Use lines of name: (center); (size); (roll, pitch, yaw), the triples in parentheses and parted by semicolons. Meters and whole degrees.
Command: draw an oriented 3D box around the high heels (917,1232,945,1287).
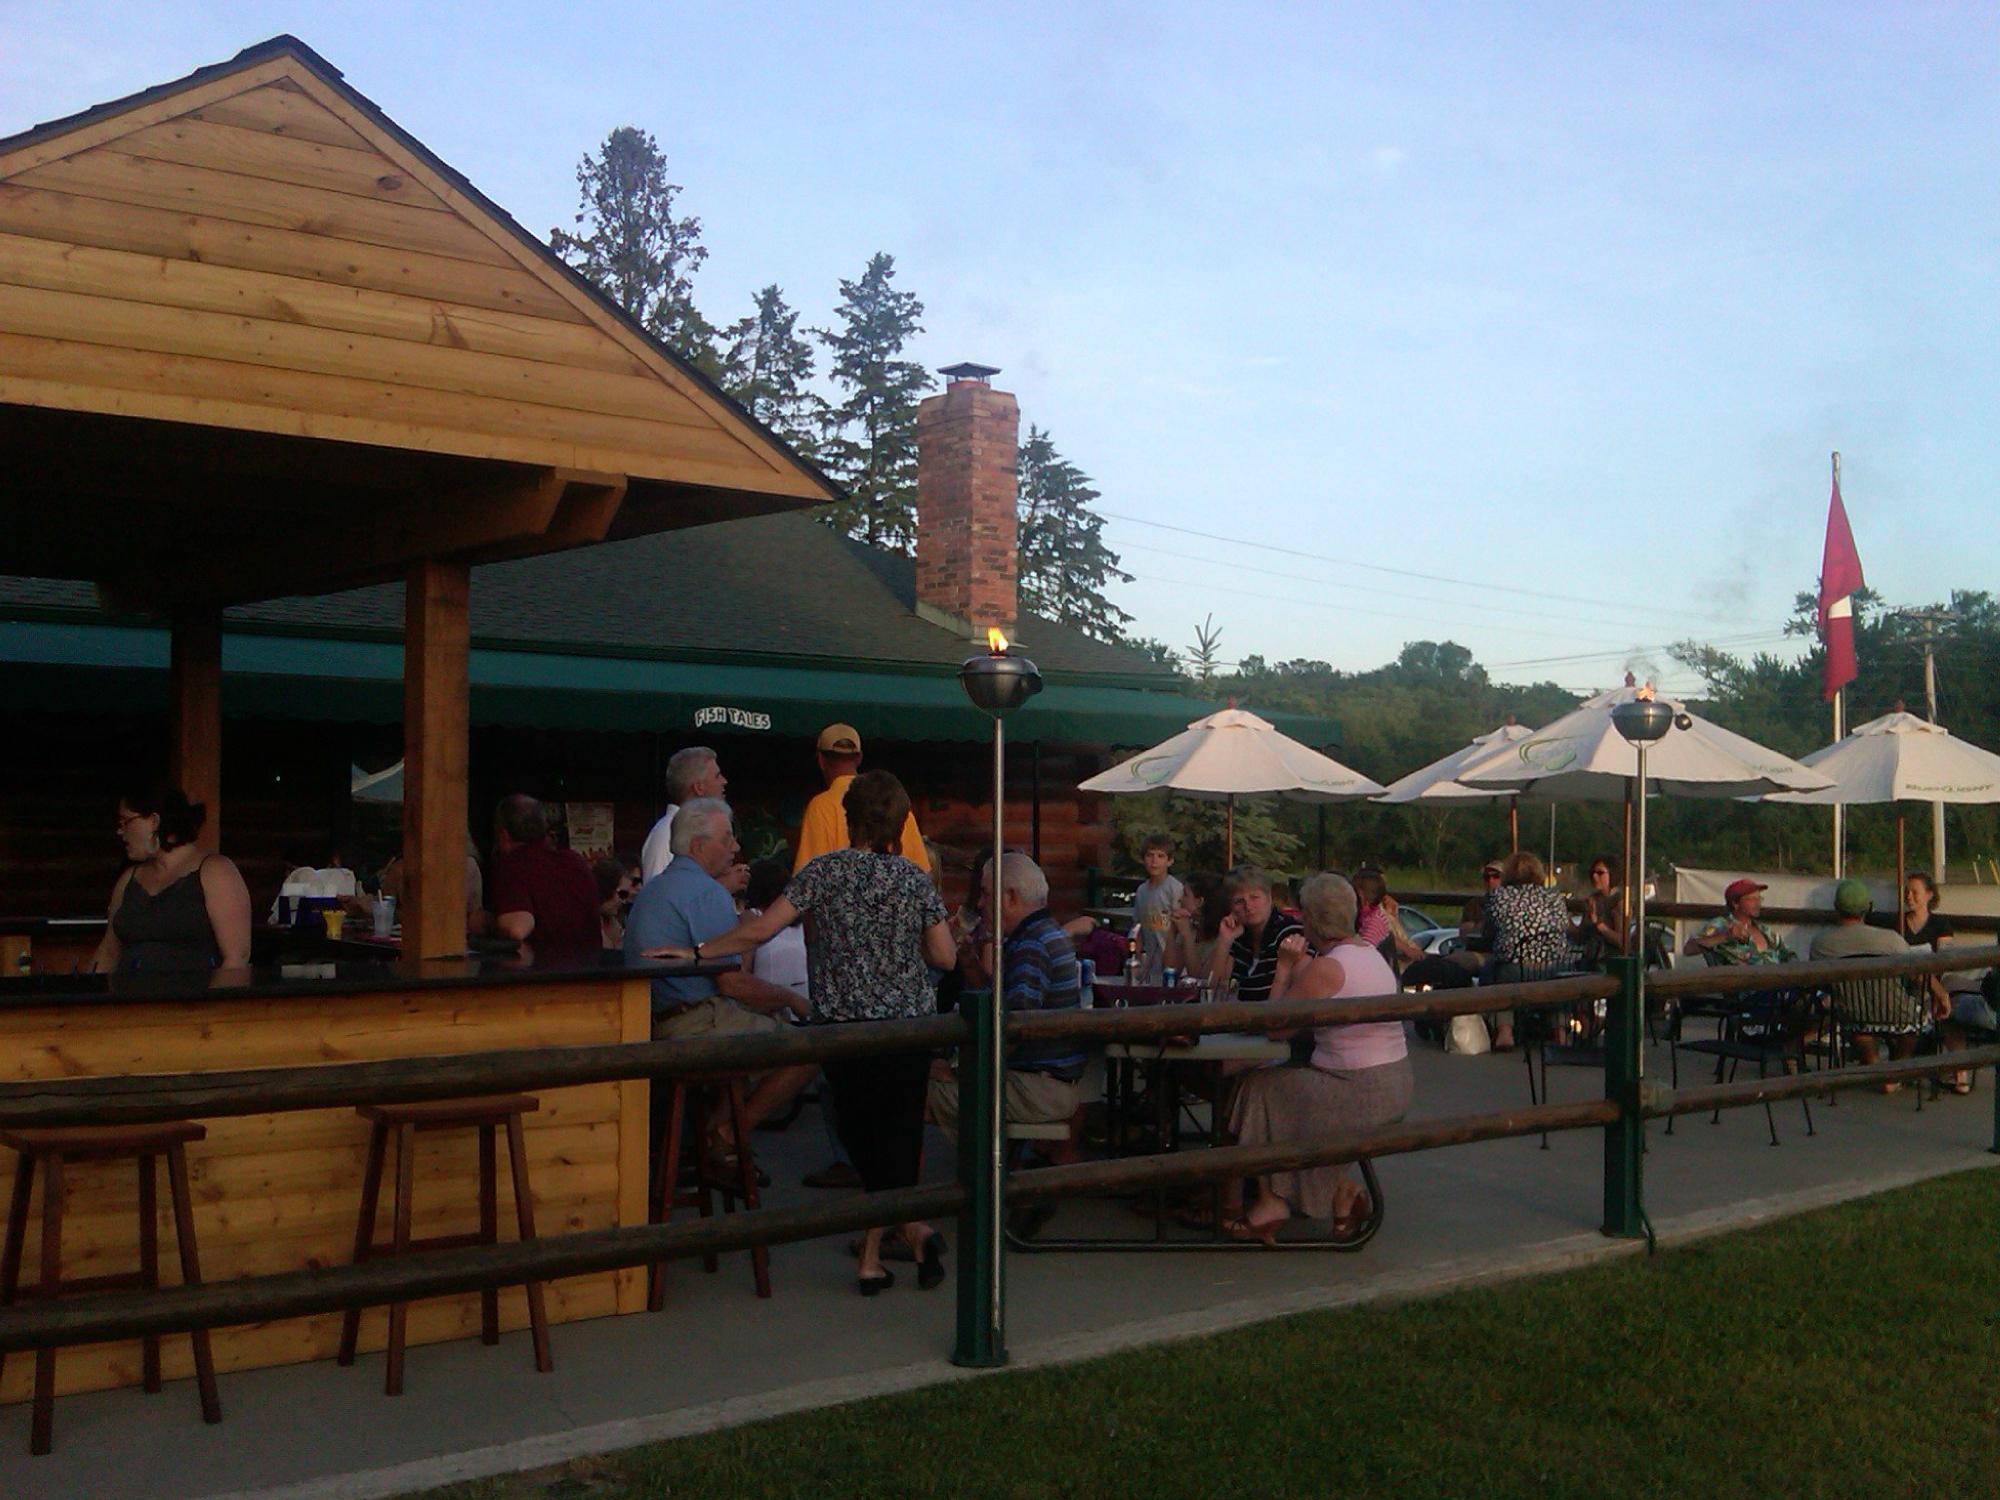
high heels: (-0.294, 2.195, 8.020); (0.095, 0.217, 0.062); (-1, -10, 12)

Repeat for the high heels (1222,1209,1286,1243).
high heels: (1.258, 2.223, 8.750); (0.368, 0.126, 0.126); (1, 1, 19)

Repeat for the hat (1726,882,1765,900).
hat: (5.297, 0.971, 12.823); (0.222, 0.100, 0.158); (-21, 0, 8)
